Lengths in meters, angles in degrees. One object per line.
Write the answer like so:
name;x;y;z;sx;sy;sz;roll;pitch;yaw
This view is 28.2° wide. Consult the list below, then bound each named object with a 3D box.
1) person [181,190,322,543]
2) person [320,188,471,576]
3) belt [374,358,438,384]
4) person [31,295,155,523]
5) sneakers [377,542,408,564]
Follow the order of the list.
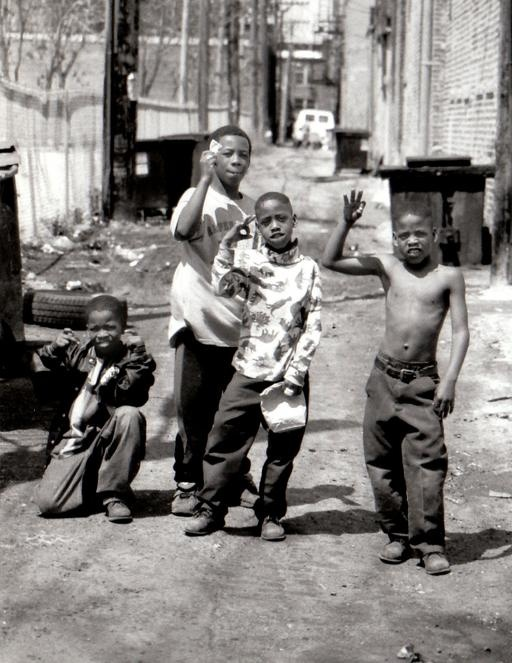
person;-0.009;0.169;4.383;0.540;1.495;0.423;2;13;2
person;0.648;0.199;4.261;0.394;1.514;0.730;-7;15;-32
belt;0.613;0.163;4.232;0.265;0.082;0.151;4;13;12
person;-0.747;0.335;4.618;0.547;0.965;0.462;3;13;5
sneakers;0.559;0.912;4.237;0.063;0.051;0.125;10;13;36
